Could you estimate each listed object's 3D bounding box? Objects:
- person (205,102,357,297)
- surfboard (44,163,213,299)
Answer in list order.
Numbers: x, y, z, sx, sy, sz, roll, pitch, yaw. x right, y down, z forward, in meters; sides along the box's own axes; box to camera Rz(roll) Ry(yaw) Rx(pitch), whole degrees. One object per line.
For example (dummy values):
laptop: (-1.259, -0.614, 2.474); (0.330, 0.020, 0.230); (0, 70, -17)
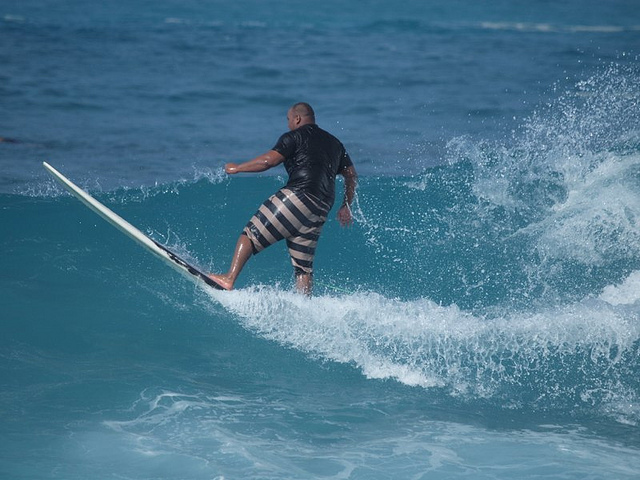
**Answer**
person: (-0.496, -0.376, 13.052); (1.658, 2.348, 0.723); (0, 22, -18)
surfboard: (-3.031, -0.073, 14.864); (3.555, 0.372, 0.194); (34, 66, 9)
